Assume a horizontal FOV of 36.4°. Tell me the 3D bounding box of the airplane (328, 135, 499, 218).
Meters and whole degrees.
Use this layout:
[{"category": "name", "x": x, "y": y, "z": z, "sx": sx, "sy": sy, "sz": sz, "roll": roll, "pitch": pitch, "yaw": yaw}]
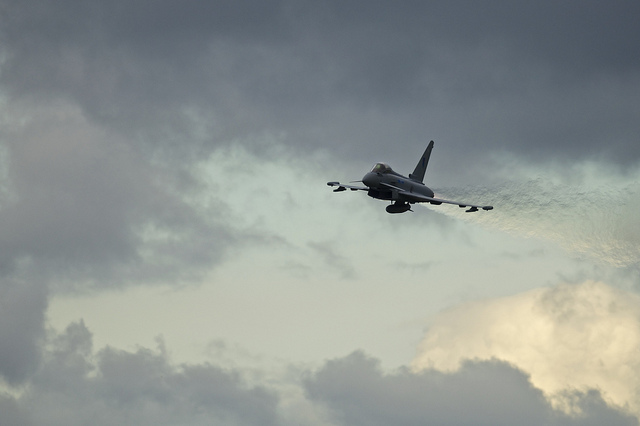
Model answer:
[{"category": "airplane", "x": 10.360, "y": -5.004, "z": 128.982, "sx": 16.498, "sy": 23.644, "sz": 10.896, "roll": 8, "pitch": -88, "yaw": -52}]
